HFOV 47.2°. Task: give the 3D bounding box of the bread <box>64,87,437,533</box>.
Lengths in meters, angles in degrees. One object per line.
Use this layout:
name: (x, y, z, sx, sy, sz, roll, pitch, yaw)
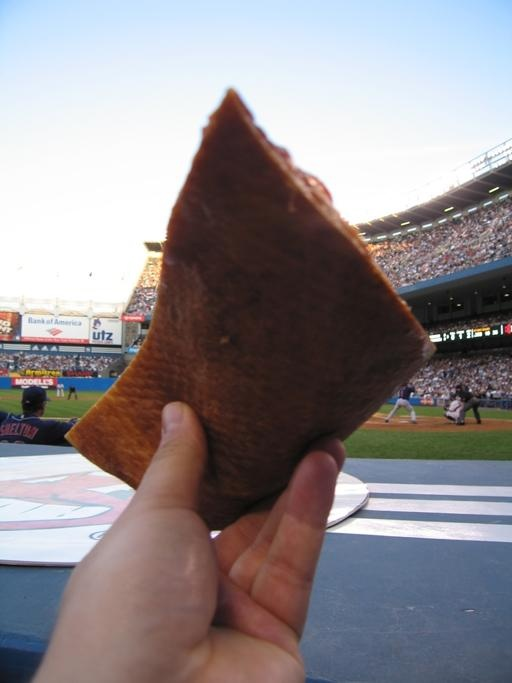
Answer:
bread: (0.002, -0.009, 0.610, 0.140, 0.307, 0.452, -52, 0, -44)
